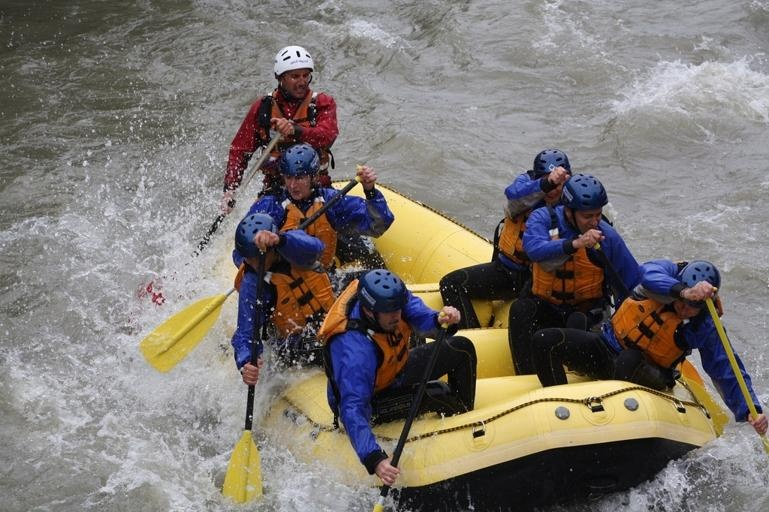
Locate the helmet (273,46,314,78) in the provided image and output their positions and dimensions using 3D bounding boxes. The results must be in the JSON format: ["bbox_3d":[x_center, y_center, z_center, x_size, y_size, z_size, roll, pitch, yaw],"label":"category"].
[{"bbox_3d":[-1.108,-2.467,11.477,0.407,0.506,0.567,-9,27,-12],"label":"helmet"}]

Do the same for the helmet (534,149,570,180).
[{"bbox_3d":[1.942,-1.141,10.668,0.288,0.357,0.407,4,42,3],"label":"helmet"}]

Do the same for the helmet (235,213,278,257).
[{"bbox_3d":[-1.437,-0.215,10.087,0.345,0.276,0.500,5,58,11],"label":"helmet"}]
